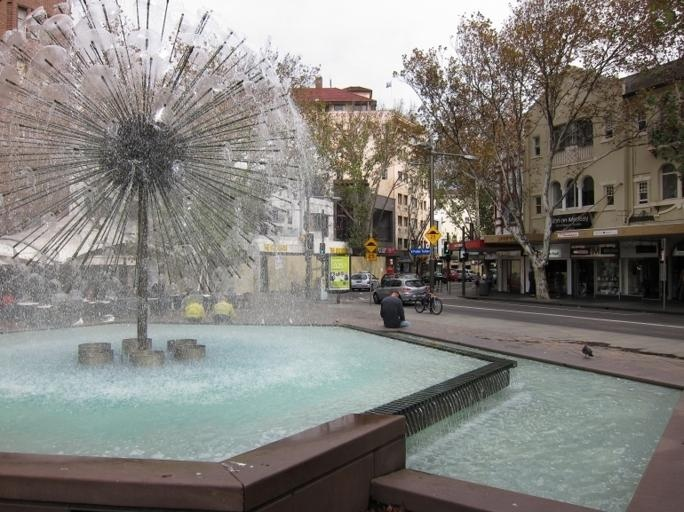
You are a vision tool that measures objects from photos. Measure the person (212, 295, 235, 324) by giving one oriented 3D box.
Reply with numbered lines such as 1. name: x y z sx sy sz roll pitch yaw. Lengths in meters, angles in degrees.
1. person: -3.975 1.790 18.656 0.540 0.847 0.370 2 -8 -12

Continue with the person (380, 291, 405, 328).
1. person: 1.445 1.521 16.002 0.651 1.081 0.640 1 5 -4

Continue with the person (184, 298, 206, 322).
1. person: -4.850 1.740 18.634 0.586 0.788 0.708 7 15 22

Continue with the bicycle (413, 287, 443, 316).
1. bicycle: 3.956 1.997 24.635 0.731 1.013 1.438 2 -4 -29

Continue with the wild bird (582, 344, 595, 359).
1. wild bird: 5.373 2.083 12.215 0.223 0.312 0.698 4 6 25
